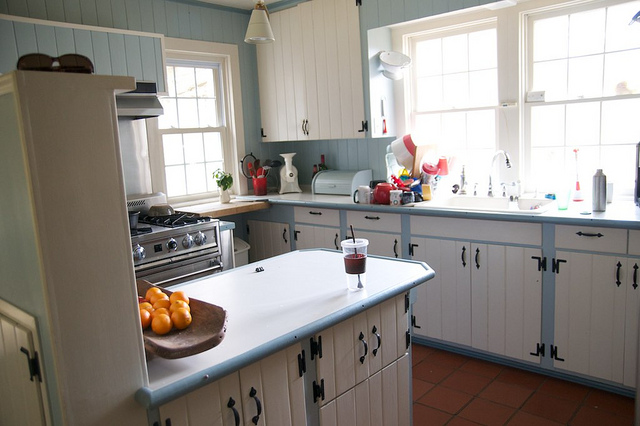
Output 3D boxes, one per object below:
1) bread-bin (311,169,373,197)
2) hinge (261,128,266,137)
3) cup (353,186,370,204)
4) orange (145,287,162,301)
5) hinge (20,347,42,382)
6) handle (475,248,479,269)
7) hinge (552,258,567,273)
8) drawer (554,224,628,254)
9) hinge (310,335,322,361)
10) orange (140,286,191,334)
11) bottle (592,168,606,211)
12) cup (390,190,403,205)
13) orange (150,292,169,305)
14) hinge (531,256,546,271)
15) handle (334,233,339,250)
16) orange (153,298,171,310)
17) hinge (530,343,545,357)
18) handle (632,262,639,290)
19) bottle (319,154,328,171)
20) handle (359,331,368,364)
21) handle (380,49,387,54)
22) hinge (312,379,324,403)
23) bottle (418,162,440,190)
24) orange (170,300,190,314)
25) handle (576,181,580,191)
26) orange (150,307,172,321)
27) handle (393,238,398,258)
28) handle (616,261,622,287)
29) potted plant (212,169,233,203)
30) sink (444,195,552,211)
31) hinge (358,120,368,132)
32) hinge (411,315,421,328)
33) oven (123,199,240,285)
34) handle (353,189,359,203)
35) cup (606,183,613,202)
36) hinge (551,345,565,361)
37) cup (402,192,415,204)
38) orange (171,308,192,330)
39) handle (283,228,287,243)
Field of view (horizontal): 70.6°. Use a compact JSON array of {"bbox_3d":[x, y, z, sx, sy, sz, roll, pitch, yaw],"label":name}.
[{"bbox_3d":[0.190,-0.312,4.637,0.488,0.257,0.357,4,3,34],"label":"bread-bin"},{"bbox_3d":[-0.644,-0.902,5.071,0.034,0.126,0.088,3,12,30],"label":"hinge"},{"bbox_3d":[0.363,-0.165,3.977,0.192,0.146,0.080,11,20,43],"label":"cup"},{"bbox_3d":[-0.740,0.348,1.992,0.057,0.056,0.056,-22,-41,34],"label":"orange"},{"bbox_3d":[-0.998,0.522,1.573,0.136,0.117,0.027,10,20,42],"label":"hinge"},{"bbox_3d":[1.184,0.339,3.429,0.031,0.144,0.015,4,16,27],"label":"handle"},{"bbox_3d":[1.671,0.366,3.186,0.092,0.116,0.079,2,6,18],"label":"hinge"},{"bbox_3d":[1.776,0.169,3.009,0.500,0.157,0.272,7,13,21],"label":"drawer"},{"bbox_3d":[-0.017,0.597,2.016,0.066,0.104,0.011,-11,16,-27],"label":"hinge"},{"bbox_3d":[-0.640,0.394,1.865,0.166,0.059,0.165,-1,15,-16],"label":"orange"},{"bbox_3d":[1.911,-0.157,3.117,0.080,0.272,0.110,-4,15,-1],"label":"bottle"},{"bbox_3d":[0.630,-0.131,3.776,0.115,0.150,0.107,-1,9,0],"label":"cup"},{"bbox_3d":[-0.683,0.356,1.951,0.061,0.051,0.051,-9,-23,-26],"label":"orange"},{"bbox_3d":[1.552,0.359,3.221,0.081,0.102,0.070,1,4,20],"label":"hinge"},{"bbox_3d":[0.149,0.258,4.175,0.032,0.134,0.022,3,16,24],"label":"handle"},{"bbox_3d":[-0.664,0.379,1.908,0.054,0.045,0.045,-8,11,-43],"label":"orange"},{"bbox_3d":[1.579,0.992,3.298,0.087,0.093,0.064,0,1,31],"label":"hinge"},{"bbox_3d":[2.008,0.398,2.894,0.029,0.161,0.027,2,15,19],"label":"handle"},{"bbox_3d":[0.032,-0.559,4.962,0.086,0.159,0.112,0,15,11],"label":"bottle"},{"bbox_3d":[0.208,0.647,2.196,0.041,0.163,0.030,-4,15,-1],"label":"handle"},{"bbox_3d":[0.584,-1.510,4.235,0.066,0.033,0.094,1,12,9],"label":"handle"},{"bbox_3d":[-0.010,0.798,2.042,0.087,0.087,0.020,2,-3,-43],"label":"hinge"},{"bbox_3d":[0.944,-0.329,3.975,0.206,0.290,0.199,-2,13,0],"label":"bottle"},{"bbox_3d":[-0.588,0.386,1.889,0.050,0.059,0.050,2,15,0],"label":"orange"},{"bbox_3d":[1.966,-0.207,3.466,0.020,0.066,0.028,1,15,17],"label":"handle"},{"bbox_3d":[-0.650,0.403,1.851,0.052,0.052,0.052,32,-41,-17],"label":"orange"},{"bbox_3d":[0.633,0.289,3.797,0.032,0.145,0.018,5,17,30],"label":"handle"},{"bbox_3d":[1.930,0.388,2.939,0.030,0.157,0.022,1,15,15],"label":"handle"},{"bbox_3d":[-1.022,-0.291,4.748,0.134,0.316,0.284,-12,17,-30],"label":"potted plant"},{"bbox_3d":[1.492,-0.104,3.819,0.844,0.131,0.262,7,18,33],"label":"sink"},{"bbox_3d":[0.414,-0.818,4.270,0.079,0.076,0.018,6,8,30],"label":"hinge"},{"bbox_3d":[0.786,0.915,3.783,0.081,0.116,0.031,2,5,33],"label":"hinge"},{"bbox_3d":[-1.143,0.339,3.750,0.453,0.651,0.690,16,20,37],"label":"oven"},{"bbox_3d":[0.316,-0.150,4.018,0.036,0.102,0.093,-4,15,-1],"label":"handle"},{"bbox_3d":[2.133,-0.158,3.338,0.057,0.138,0.025,-8,15,-17],"label":"cup"},{"bbox_3d":[1.648,0.976,3.147,0.095,0.115,0.079,2,7,25],"label":"hinge"},{"bbox_3d":[0.732,-0.129,3.774,0.073,0.086,0.097,12,20,42],"label":"cup"},{"bbox_3d":[-0.565,0.427,1.841,0.080,0.080,0.072,-8,-6,30],"label":"orange"},{"bbox_3d":[-0.354,0.216,4.564,0.021,0.133,0.056,-14,18,-35],"label":"handle"}]
